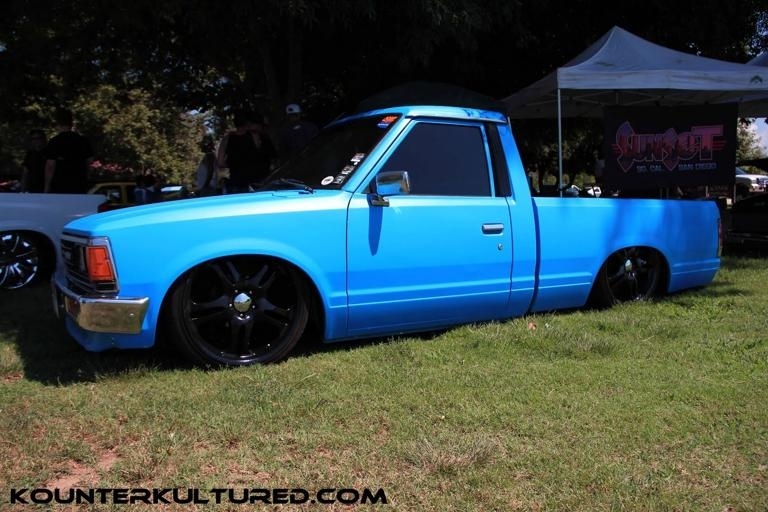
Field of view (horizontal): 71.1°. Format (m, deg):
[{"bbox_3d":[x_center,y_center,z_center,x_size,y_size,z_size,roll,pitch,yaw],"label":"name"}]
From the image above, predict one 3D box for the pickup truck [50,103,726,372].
[{"bbox_3d":[0.200,-0.335,5.361,6.211,2.267,0.696,-5,10,-20],"label":"pickup truck"}]
